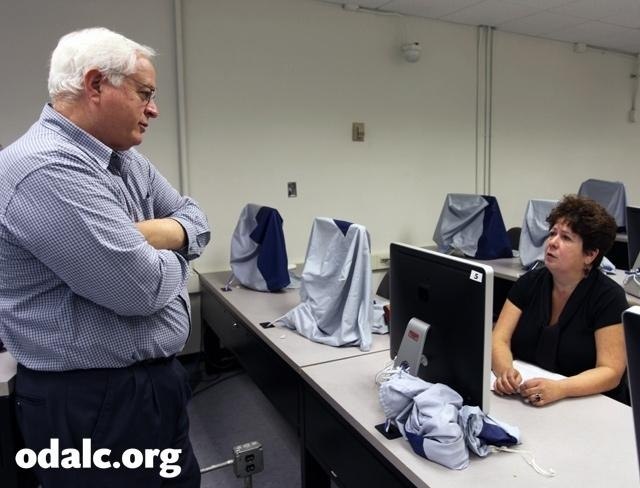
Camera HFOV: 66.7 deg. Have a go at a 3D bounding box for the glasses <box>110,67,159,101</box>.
[{"bbox_3d":[-0.537,-0.463,1.417,0.086,0.031,0.088,30,18,19],"label":"glasses"}]

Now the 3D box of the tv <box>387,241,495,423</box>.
[{"bbox_3d":[0.387,0.306,1.592,0.053,0.590,0.463,-7,12,-30],"label":"tv"}]
